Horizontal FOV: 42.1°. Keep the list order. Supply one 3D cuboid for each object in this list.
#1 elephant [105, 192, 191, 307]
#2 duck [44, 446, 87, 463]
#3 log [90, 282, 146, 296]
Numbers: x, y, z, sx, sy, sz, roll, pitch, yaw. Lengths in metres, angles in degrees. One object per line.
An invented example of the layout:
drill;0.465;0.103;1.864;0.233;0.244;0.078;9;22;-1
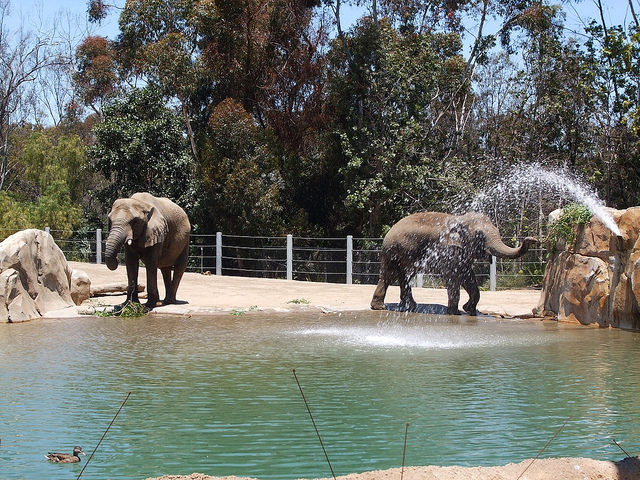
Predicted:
elephant;-4.007;0.211;19.171;1.212;2.515;2.927;2;-1;21
duck;-2.807;2.363;9.212;0.438;0.241;0.171;-2;1;7
log;-5.061;1.208;20.680;1.769;0.401;0.355;-3;0;-43
